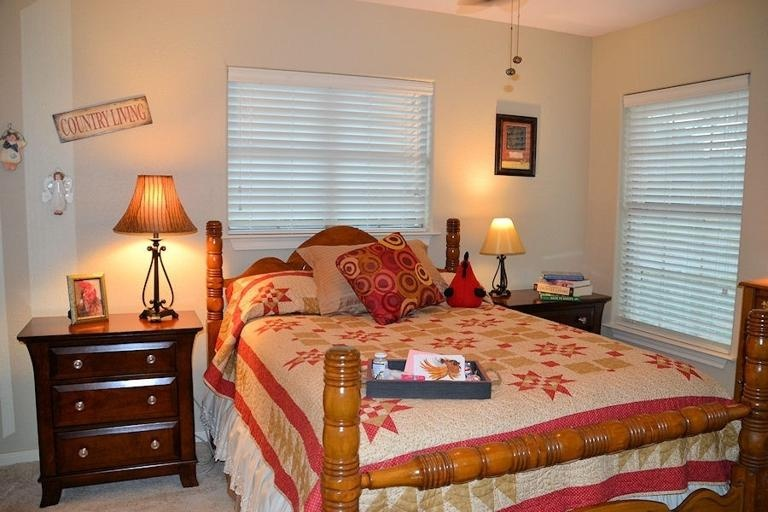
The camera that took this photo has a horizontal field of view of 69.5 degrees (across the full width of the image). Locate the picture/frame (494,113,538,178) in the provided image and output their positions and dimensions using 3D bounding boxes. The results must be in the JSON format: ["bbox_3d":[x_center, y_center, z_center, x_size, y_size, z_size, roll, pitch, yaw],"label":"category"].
[{"bbox_3d":[1.117,-0.970,4.767,0.564,0.648,0.049,-2,6,-21],"label":"picture/frame"}]

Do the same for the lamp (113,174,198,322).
[{"bbox_3d":[-1.531,-0.078,3.719,0.482,0.964,0.437,-6,8,-26],"label":"lamp"}]

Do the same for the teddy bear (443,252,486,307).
[{"bbox_3d":[0.577,0.168,4.077,0.380,0.487,0.269,0,-5,0],"label":"teddy bear"}]

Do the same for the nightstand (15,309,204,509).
[{"bbox_3d":[-1.701,0.956,3.423,1.151,1.136,0.606,-1,2,-21],"label":"nightstand"}]
